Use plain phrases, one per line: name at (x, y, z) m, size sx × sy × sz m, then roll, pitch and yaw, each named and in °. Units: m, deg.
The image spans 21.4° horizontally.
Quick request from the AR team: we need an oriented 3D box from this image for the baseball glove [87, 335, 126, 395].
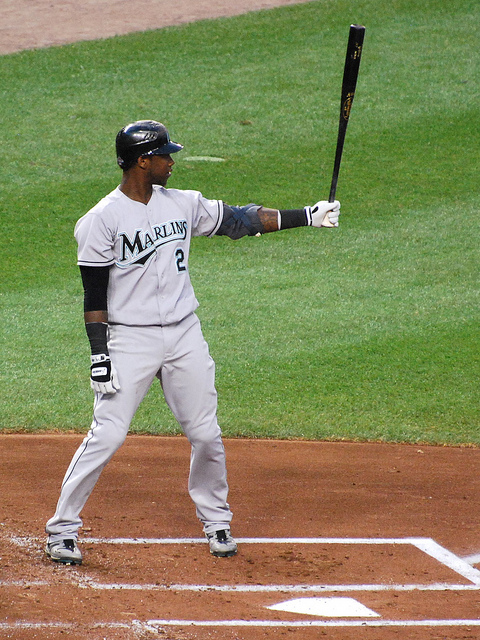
baseball glove at (-0.707, 0.249, 6.700) m, size 0.182 × 0.314 × 0.073 m, roll -16°, pitch -2°, yaw 13°
